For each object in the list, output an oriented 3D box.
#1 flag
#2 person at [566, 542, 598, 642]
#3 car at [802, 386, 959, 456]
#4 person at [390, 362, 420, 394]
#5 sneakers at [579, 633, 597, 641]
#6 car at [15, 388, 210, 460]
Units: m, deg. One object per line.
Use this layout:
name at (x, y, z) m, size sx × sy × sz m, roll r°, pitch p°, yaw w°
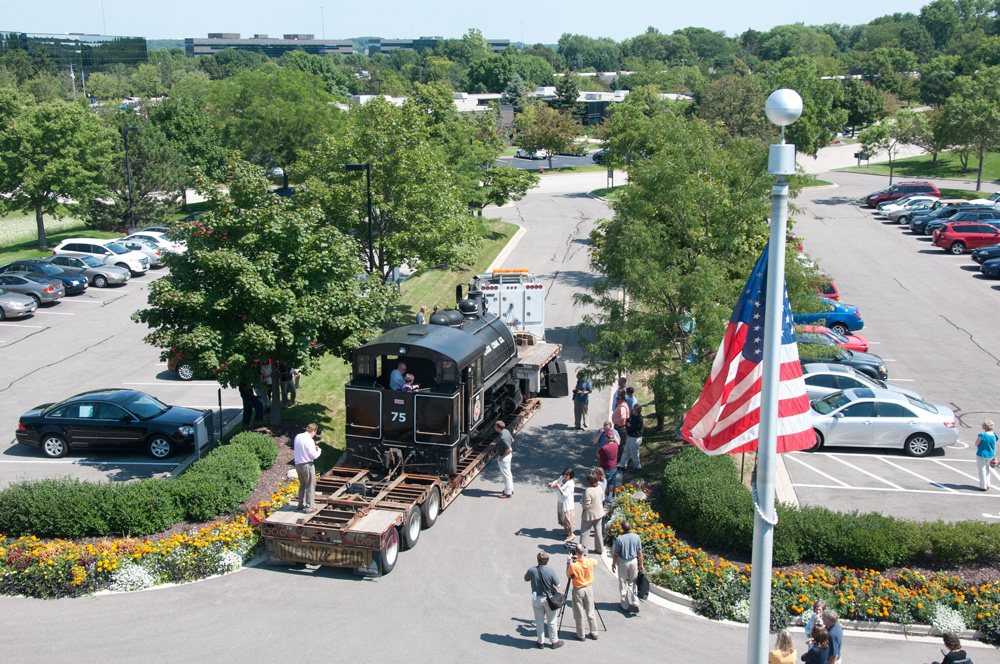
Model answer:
flag at (8.987, 0.887, 51.149) m, size 4.097 × 7.723 × 1.662 m, roll 1°, pitch 14°, yaw 8°
person at (3.152, 9.946, 55.022) m, size 1.198 × 3.554 × 1.208 m, roll -1°, pitch 14°, yaw 1°
car at (17.156, 4.014, 64.290) m, size 6.891 × 2.202 × 2.704 m, roll 3°, pitch 9°, yaw 2°
person at (-4.001, 1.960, 59.917) m, size 0.751 × 1.279 × 0.655 m, roll -32°, pitch 41°, yaw -33°
sneakers at (3.388, 11.710, 54.983) m, size 0.695 × 0.285 × 0.255 m, roll -2°, pitch 1°, yaw -3°
car at (-17.698, 4.120, 64.649) m, size 8.088 × 2.555 × 3.437 m, roll 0°, pitch 12°, yaw 1°
